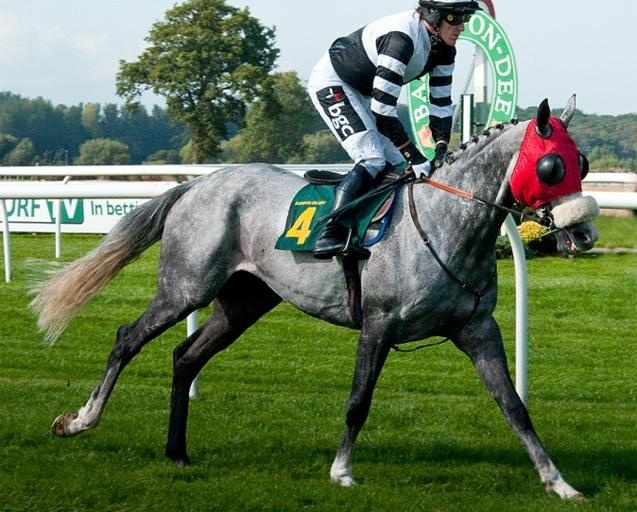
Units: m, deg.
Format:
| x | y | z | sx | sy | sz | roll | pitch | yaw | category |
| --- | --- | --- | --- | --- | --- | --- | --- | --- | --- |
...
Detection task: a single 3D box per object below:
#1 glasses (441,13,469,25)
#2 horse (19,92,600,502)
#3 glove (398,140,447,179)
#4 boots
| x | y | z | sx | sy | sz | roll | pitch | yaw | category |
| --- | --- | --- | --- | --- | --- | --- | --- | --- | --- |
| 0.713 | -1.203 | 5.517 | 0.073 | 0.053 | 0.160 | 14 | 19 | 43 | glasses |
| -0.139 | 0.167 | 5.801 | 3.415 | 1.786 | 0.899 | 1 | -7 | 28 | horse |
| 0.525 | -0.500 | 5.528 | 0.092 | 0.213 | 0.180 | -34 | -37 | 33 | glove |
| 0.126 | -0.232 | 5.452 | 0.161 | 0.439 | 0.347 | 8 | 16 | 26 | boots |
